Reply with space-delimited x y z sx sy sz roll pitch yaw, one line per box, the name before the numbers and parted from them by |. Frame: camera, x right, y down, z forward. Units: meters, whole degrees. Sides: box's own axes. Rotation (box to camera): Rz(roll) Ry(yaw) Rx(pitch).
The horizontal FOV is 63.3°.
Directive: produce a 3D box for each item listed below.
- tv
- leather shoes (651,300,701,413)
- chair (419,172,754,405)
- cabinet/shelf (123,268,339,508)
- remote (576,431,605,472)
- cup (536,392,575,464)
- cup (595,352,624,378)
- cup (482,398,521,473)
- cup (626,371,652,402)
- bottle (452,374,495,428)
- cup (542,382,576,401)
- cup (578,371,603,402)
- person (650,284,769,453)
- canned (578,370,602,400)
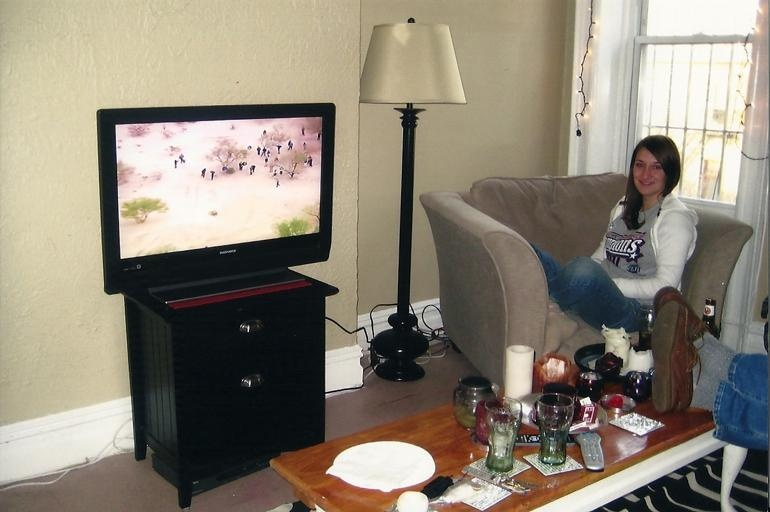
tv | -0.778 -0.241 2.721 0.975 0.644 0.066 -7 21 -28
leather shoes | 1.046 0.346 2.336 0.194 0.431 0.153 3 -1 -6
chair | 1.097 0.105 3.563 1.622 0.998 0.911 -3 15 -17
cabinet/shelf | -0.598 0.384 3.193 1.227 1.219 0.888 -4 5 -37
remote | 0.689 0.646 2.075 0.084 0.025 0.144 -2 34 5
cup | 0.575 0.569 2.097 0.115 0.195 0.187 -2 15 15
cup | 0.903 0.440 2.503 0.104 0.080 0.109 -5 14 1
cup | 0.386 0.581 2.045 0.130 0.206 0.154 -4 15 5
cup | 0.968 0.491 2.377 0.112 0.100 0.108 -1 3 0
bottle | 0.302 0.510 2.281 0.181 0.164 0.168 2 5 15
cup | 0.628 0.473 2.220 0.070 0.054 0.075 -1 7 0
cup | 0.777 0.490 2.355 0.103 0.092 0.102 0 5 0
person | 1.144 0.416 2.255 0.366 0.740 0.268 3 -9 4
canned | 0.775 0.490 2.356 0.101 0.090 0.098 2 4 19
